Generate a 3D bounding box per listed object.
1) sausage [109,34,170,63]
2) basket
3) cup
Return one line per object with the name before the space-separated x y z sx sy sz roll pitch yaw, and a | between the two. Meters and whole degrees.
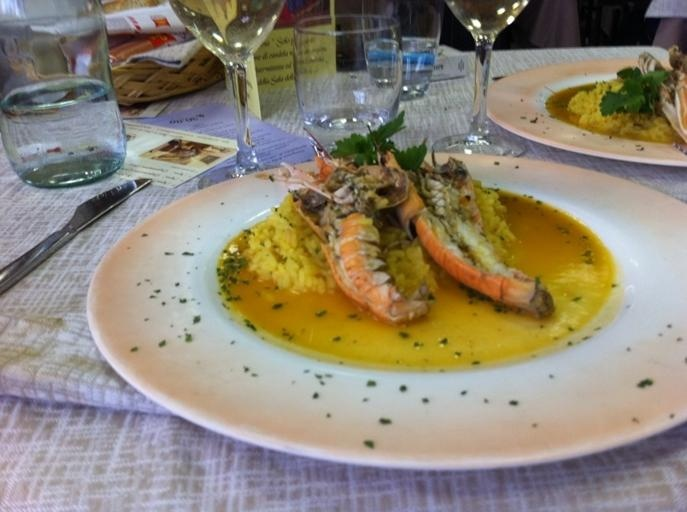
sausage | -0.733 -0.751 2.096 0.166 0.052 0.166 -20 34 -25
basket | -0.634 -0.634 2.066 0.299 0.116 0.274 4 29 13
cup | 0.047 -0.504 1.699 0.388 0.464 0.405 -2 27 1
